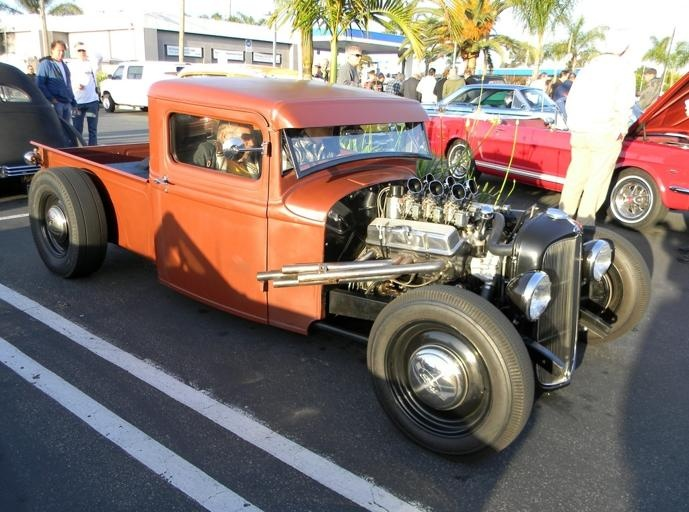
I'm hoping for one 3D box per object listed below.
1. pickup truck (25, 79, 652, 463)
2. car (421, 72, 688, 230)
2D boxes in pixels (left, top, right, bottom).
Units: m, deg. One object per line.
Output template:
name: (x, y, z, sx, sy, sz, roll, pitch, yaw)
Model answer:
pickup truck: (-0.427, -0.434, 4.453, 4.919, 1.949, 2.589, 17, 27, 33)
car: (3.545, -2.279, 9.483, 2.319, 3.010, 6.018, -18, 27, -39)
